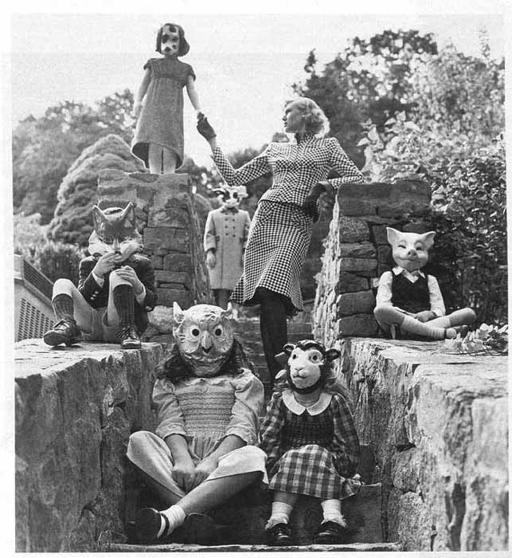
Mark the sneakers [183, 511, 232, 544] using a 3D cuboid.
[{"bbox_3d":[-0.251,1.332,7.010,0.241,0.251,0.150,7,-2,6],"label":"sneakers"}]

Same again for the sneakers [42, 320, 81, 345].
[{"bbox_3d":[-1.147,0.318,7.610,0.169,0.154,0.322,0,-1,7],"label":"sneakers"}]

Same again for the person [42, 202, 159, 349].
[{"bbox_3d":[-0.910,-0.014,8.088,0.549,0.891,0.811,2,-4,8],"label":"person"}]

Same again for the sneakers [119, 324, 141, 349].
[{"bbox_3d":[-0.778,0.351,7.947,0.120,0.123,0.302,1,-5,-12],"label":"sneakers"}]

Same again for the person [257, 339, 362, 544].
[{"bbox_3d":[0.301,0.872,7.224,0.554,1.047,0.680,0,-1,0],"label":"person"}]

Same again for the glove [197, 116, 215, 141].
[{"bbox_3d":[-0.337,-0.985,8.687,0.096,0.166,0.062,-25,-5,2],"label":"glove"}]

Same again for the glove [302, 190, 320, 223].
[{"bbox_3d":[0.359,-0.464,8.448,0.104,0.120,0.147,1,39,8],"label":"glove"}]

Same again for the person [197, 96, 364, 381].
[{"bbox_3d":[0.105,-0.223,8.472,1.047,2.252,0.563,2,-22,8],"label":"person"}]

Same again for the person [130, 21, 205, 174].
[{"bbox_3d":[-0.678,-1.334,9.792,0.555,1.108,0.480,0,0,6],"label":"person"}]

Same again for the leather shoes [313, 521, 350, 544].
[{"bbox_3d":[0.420,1.345,6.970,0.235,0.123,0.126,1,-1,-40],"label":"leather shoes"}]

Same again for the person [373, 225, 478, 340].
[{"bbox_3d":[0.994,0.016,8.215,0.573,0.792,0.644,5,-12,-31],"label":"person"}]

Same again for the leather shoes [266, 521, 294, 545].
[{"bbox_3d":[0.112,1.348,6.955,0.172,0.108,0.132,-1,-1,19],"label":"leather shoes"}]
